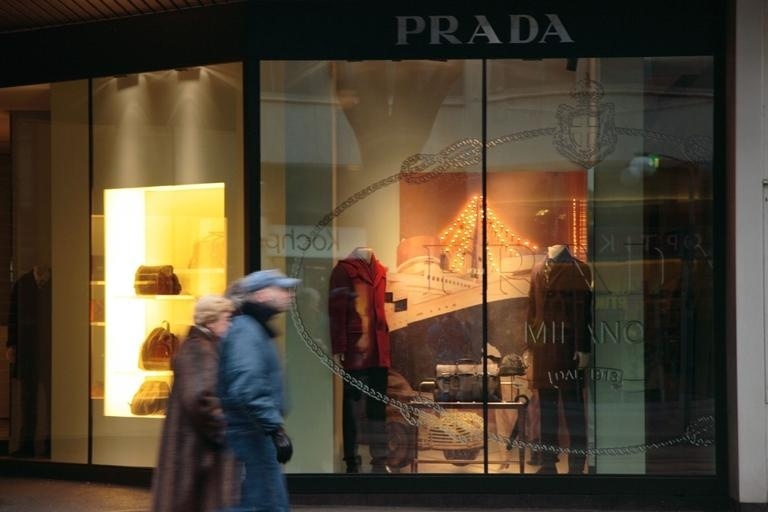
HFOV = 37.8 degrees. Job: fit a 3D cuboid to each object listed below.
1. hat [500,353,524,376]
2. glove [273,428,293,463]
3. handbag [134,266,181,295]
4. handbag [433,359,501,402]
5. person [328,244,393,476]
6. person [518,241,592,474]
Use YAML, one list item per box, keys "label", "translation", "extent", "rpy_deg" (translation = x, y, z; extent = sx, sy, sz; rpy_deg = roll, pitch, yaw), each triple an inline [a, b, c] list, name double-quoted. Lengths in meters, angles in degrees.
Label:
- label: "hat"
  translation: [1.388, 1.202, 12.165]
  extent: [0.279, 0.213, 0.195]
  rpy_deg: [-2, -1, -1]
- label: "glove"
  translation: [-0.921, 1.687, 9.832]
  extent: [0.089, 0.272, 0.212]
  rpy_deg: [2, 6, 32]
- label: "handbag"
  translation: [-2.521, 0.293, 12.469]
  extent: [0.411, 0.272, 0.372]
  rpy_deg: [1, 0, 9]
- label: "handbag"
  translation: [0.916, 1.353, 12.152]
  extent: [0.740, 0.471, 0.292]
  rpy_deg: [-3, 3, 22]
- label: "person"
  translation: [-0.261, 1.135, 12.071]
  extent: [0.639, 2.394, 0.148]
  rpy_deg: [0, -6, -1]
- label: "person"
  translation: [1.888, 1.124, 11.998]
  extent: [0.702, 2.416, 0.203]
  rpy_deg: [-1, -6, 6]
